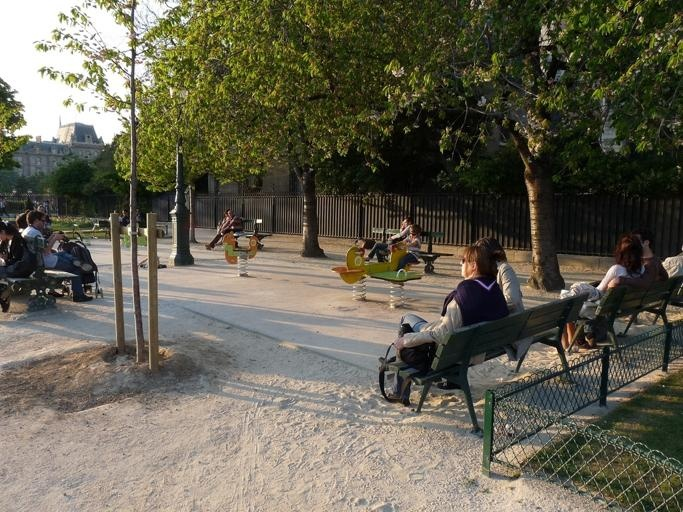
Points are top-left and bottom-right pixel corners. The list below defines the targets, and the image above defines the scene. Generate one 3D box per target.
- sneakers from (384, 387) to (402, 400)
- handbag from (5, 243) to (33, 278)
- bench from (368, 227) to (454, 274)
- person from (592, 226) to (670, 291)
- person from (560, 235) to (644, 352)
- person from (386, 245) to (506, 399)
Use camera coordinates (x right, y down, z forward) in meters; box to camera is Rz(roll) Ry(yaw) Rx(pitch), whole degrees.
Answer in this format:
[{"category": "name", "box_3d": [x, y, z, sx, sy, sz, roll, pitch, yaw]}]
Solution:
[{"category": "sneakers", "box_3d": [0.588, 1.556, 7.103, 0.153, 0.081, 0.218, -2, -3, -1]}, {"category": "handbag", "box_3d": [-5.491, 0.131, 10.765, 0.363, 0.592, 0.564, 1, -1, 24]}, {"category": "bench", "box_3d": [1.779, -0.051, 17.463, 2.233, 1.155, 0.800, 3, -18, -18]}, {"category": "person", "box_3d": [4.131, 0.220, 8.951, 0.824, 1.234, 0.834, 5, 1, -9]}, {"category": "person", "box_3d": [4.186, 0.590, 10.063, 1.808, 1.310, 0.709, -9, 15, -42]}, {"category": "person", "box_3d": [1.120, 0.879, 7.063, 1.489, 1.954, 1.014, 6, 1, 44]}]
